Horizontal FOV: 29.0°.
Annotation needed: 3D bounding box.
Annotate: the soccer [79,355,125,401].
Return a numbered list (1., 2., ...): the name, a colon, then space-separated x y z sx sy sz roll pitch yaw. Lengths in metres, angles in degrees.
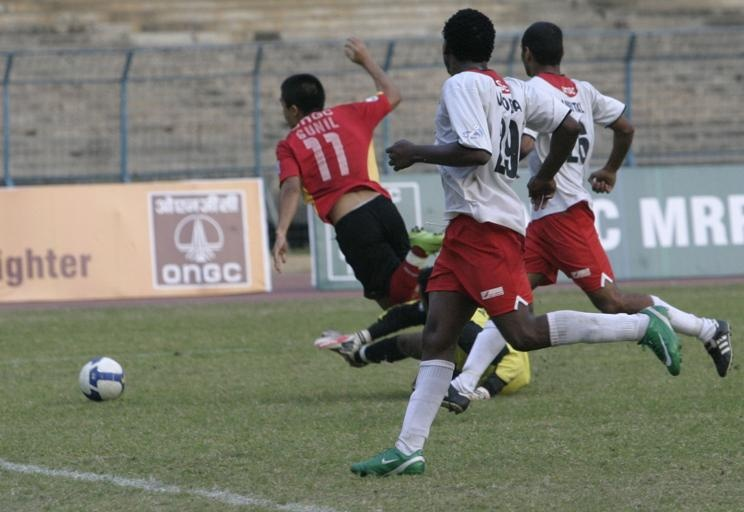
1. soccer: -2.908 1.346 15.727 0.455 0.462 0.453 9 -36 -18

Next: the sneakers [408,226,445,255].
1. sneakers: 0.630 -0.175 15.851 0.359 0.246 0.179 -24 -5 20
